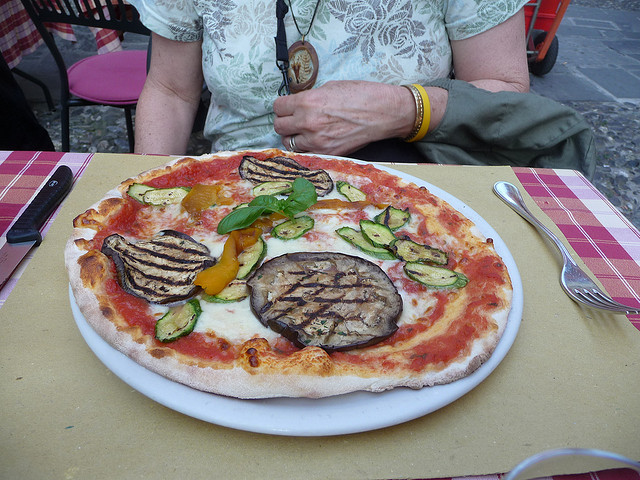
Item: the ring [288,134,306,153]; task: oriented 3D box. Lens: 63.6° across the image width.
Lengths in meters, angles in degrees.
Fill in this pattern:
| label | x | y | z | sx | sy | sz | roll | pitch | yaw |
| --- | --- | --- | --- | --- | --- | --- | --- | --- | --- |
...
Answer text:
| label | x | y | z | sx | sy | sz | roll | pitch | yaw |
| --- | --- | --- | --- | --- | --- | --- | --- | --- | --- |
| ring | -0.101 | -0.415 | 2.279 | 0.039 | 0.093 | 0.078 | -9 | 50 | 2 |
